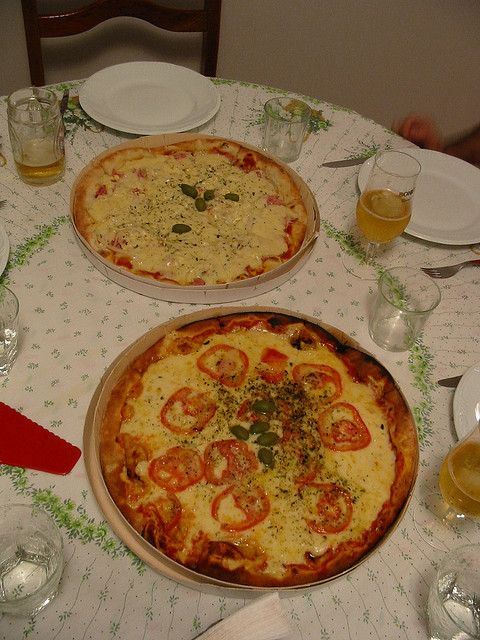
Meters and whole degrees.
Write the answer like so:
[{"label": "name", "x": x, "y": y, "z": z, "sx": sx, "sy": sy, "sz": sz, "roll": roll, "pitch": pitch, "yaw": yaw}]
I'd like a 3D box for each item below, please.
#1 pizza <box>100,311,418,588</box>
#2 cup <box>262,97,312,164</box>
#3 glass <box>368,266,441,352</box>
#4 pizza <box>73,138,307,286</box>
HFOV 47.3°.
[{"label": "pizza", "x": 0.041, "y": 0.235, "z": 1.199, "sx": 0.658, "sy": 0.092, "sz": 0.649, "roll": 36, "pitch": 53, "yaw": 26}, {"label": "cup", "x": 0.166, "y": -0.696, "z": 2.073, "sx": 0.212, "sy": 0.216, "sz": 0.207, "roll": 0, "pitch": 8, "yaw": 0}, {"label": "glass", "x": 0.453, "y": -0.041, "z": 1.530, "sx": 0.152, "sy": 0.156, "sz": 0.169, "roll": 35, "pitch": 54, "yaw": -18}, {"label": "pizza", "x": -0.179, "y": -0.321, "z": 1.712, "sx": 0.568, "sy": 0.074, "sz": 0.601, "roll": 23, "pitch": 44, "yaw": 13}]
